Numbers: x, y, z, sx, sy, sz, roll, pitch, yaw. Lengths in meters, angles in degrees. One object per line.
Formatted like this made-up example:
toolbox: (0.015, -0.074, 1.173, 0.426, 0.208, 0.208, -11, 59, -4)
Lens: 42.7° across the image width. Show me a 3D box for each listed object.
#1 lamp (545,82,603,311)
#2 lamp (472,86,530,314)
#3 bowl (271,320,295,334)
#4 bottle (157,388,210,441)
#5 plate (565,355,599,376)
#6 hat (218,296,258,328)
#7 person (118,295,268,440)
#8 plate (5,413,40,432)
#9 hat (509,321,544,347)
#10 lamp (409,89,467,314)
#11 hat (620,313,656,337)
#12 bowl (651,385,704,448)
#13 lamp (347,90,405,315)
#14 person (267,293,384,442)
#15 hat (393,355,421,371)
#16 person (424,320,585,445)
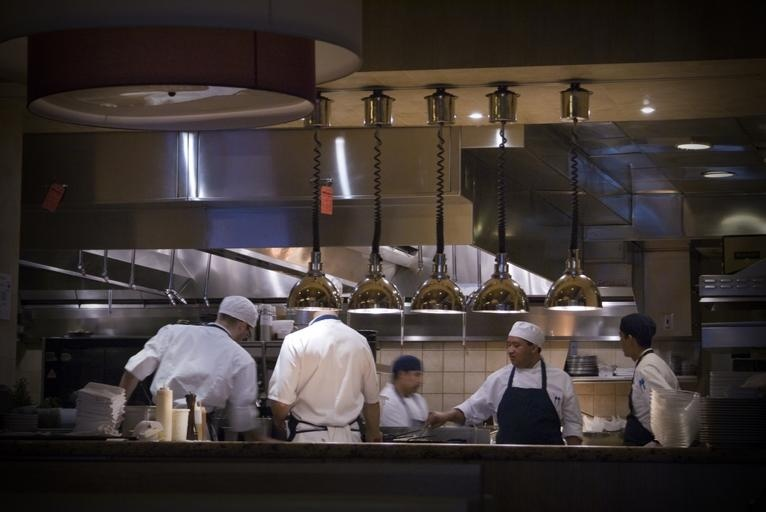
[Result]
lamp: (1.115, -0.344, 5.621, 0.386, 1.294, 0.372, -1, 2, -33)
lamp: (0.693, -0.299, 5.831, 0.311, 1.264, 1.160, -1, -6, 8)
bowl: (-0.731, 0.514, 7.116, 0.114, 0.082, 0.106, 1, -3, 0)
bottle: (-1.141, 0.877, 5.408, 0.372, 0.326, 0.220, -2, -5, -7)
plate: (1.621, 0.894, 8.007, 0.220, 0.119, 0.210, 0, -3, 13)
hat: (-0.981, 0.360, 6.504, 0.231, 0.164, 0.181, 7, -18, -36)
person: (-1.188, 0.730, 6.277, 0.734, 1.064, 0.455, 7, -18, 20)
plate: (-2.065, 0.940, 5.563, 0.129, 0.071, 0.126, 3, -6, -40)
hat: (0.976, 0.514, 6.562, 0.198, 0.096, 0.190, 18, -7, -13)
lamp: (0.318, -0.295, 5.836, 0.301, 1.261, 0.779, 0, -6, 3)
hat: (1.658, 0.454, 6.397, 0.242, 0.100, 0.293, 2, -3, 8)
bowl: (1.541, 0.843, 5.151, 0.235, 0.291, 0.123, 0, -6, 2)
lamp: (-0.041, -0.292, 5.895, 0.310, 1.262, 0.738, 0, -6, 1)
person: (-0.344, 0.730, 5.907, 0.676, 0.760, 0.251, 1, -6, -6)
hat: (0.157, 0.743, 6.809, 0.161, 0.086, 0.109, 2, -6, 10)
person: (0.856, 0.825, 6.429, 0.861, 0.786, 0.612, -1, -6, 9)
